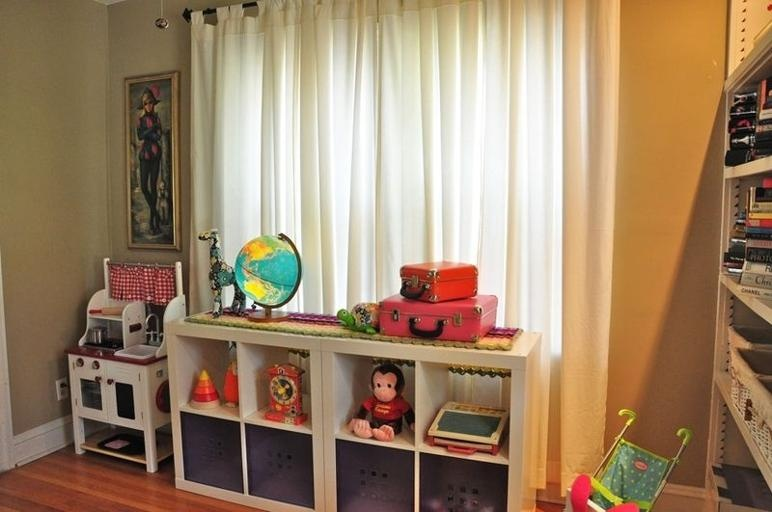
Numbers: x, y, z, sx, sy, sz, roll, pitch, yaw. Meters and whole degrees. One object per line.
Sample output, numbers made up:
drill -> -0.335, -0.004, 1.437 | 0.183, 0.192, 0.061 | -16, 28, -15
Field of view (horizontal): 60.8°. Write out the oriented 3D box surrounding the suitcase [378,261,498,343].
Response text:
suitcase -> 0.290, 0.281, 3.796 | 0.474, 0.338, 0.492 | 2, 5, 24

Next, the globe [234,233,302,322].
globe -> -0.768, 0.120, 4.359 | 0.436, 0.577, 0.465 | 1, 16, -20

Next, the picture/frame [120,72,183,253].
picture/frame -> -1.733, -0.707, 4.903 | 0.482, 1.287, 0.110 | 3, 9, 19

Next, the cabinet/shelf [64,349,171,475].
cabinet/shelf -> -1.859, 1.077, 4.602 | 0.761, 0.792, 0.346 | 1, 3, 25

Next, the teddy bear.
teddy bear -> -0.005, 0.824, 4.009 | 0.413, 0.494, 0.387 | 2, -1, 27

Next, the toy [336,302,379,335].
toy -> -0.178, 0.361, 4.008 | 0.321, 0.163, 0.124 | 5, 10, 30
